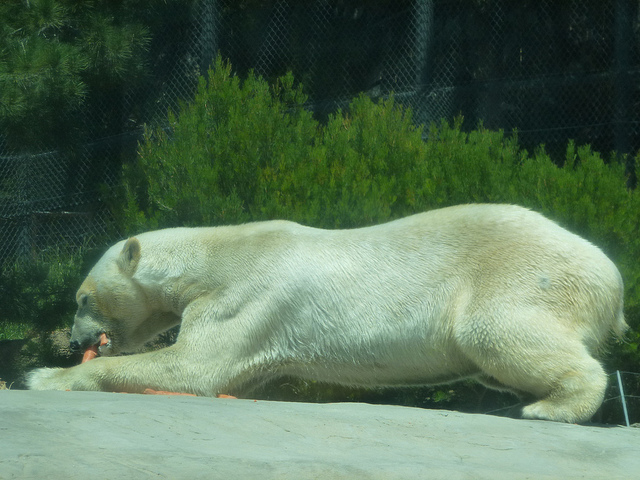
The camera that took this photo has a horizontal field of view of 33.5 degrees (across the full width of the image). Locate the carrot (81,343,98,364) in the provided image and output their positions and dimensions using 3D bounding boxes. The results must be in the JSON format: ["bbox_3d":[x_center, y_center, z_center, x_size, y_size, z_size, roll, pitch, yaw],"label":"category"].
[{"bbox_3d":[-1.784,0.889,8.254,0.114,0.119,0.242,0,14,-12],"label":"carrot"}]
